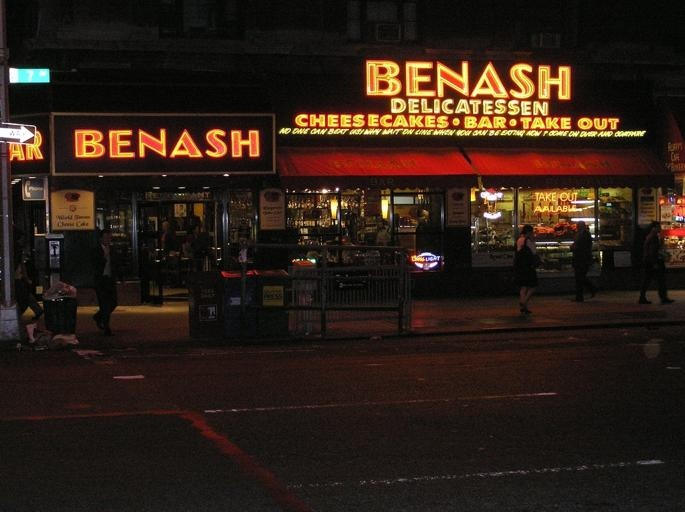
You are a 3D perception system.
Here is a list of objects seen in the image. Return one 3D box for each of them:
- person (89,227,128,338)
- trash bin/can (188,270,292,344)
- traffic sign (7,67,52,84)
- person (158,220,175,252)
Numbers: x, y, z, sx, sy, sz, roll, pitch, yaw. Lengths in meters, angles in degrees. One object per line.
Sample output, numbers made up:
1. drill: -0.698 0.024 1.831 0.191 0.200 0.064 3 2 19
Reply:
1. person: -4.840 0.580 21.321 0.512 2.032 1.152 -2 8 -11
2. trash bin/can: -2.072 1.072 20.734 1.554 0.932 0.487 0 5 -6
3. traffic sign: -7.605 -4.391 25.385 0.951 0.336 0.452 -3 8 -21
4. person: -4.644 -0.494 27.633 0.410 0.872 0.177 -2 8 -10
